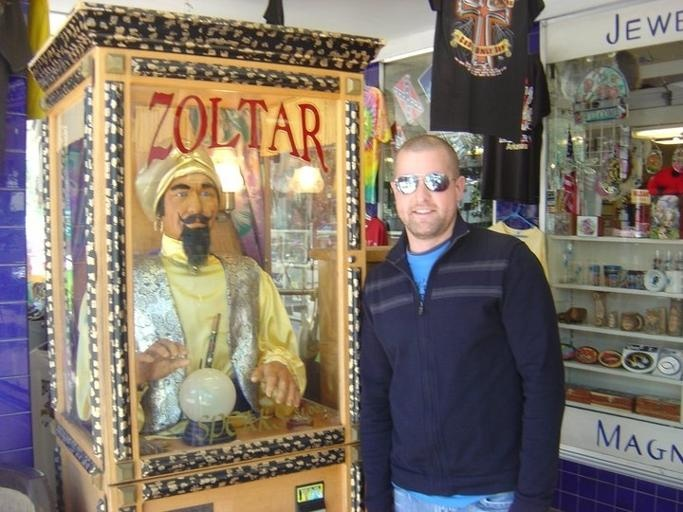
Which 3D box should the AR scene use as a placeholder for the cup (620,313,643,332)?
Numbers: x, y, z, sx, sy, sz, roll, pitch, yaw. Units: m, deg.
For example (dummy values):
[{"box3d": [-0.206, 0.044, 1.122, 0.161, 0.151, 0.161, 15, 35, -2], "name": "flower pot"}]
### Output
[{"box3d": [2.074, 0.473, 4.367, 0.094, 0.132, 0.147, 7, -6, -43], "name": "cup"}]
